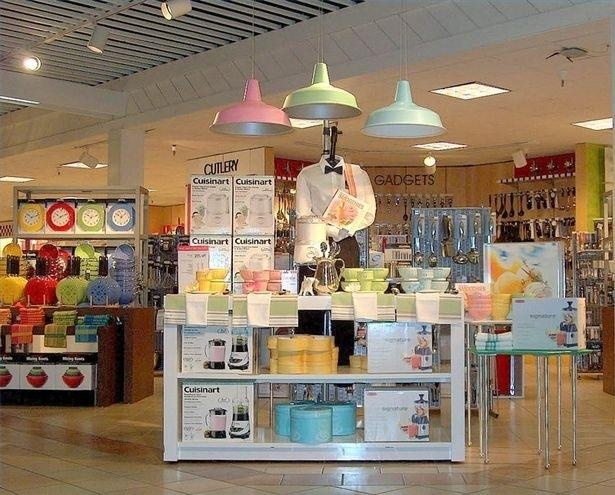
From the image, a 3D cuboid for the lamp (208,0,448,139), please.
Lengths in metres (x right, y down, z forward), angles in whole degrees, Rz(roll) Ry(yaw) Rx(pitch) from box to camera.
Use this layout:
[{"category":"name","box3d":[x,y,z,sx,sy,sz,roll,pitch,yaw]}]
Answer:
[{"category":"lamp","box3d":[0.220,-2.137,6.882,2.111,1.945,0.694,0,-8,-3]}]

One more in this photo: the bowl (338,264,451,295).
[{"category":"bowl","box3d":[0.718,0.263,4.980,0.867,0.211,0.543,-1,-4,12]}]

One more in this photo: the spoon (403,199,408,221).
[{"category":"spoon","box3d":[2.250,-0.838,13.925,0.112,0.396,0.061,0,-3,16]}]

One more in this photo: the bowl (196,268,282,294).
[{"category":"bowl","box3d":[-0.649,0.282,5.159,0.711,0.201,0.856,2,-4,-26]}]

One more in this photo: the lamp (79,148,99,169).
[{"category":"lamp","box3d":[-4.151,-1.664,11.611,0.390,0.350,0.517,-6,16,-24]}]

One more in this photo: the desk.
[{"category":"desk","box3d":[2.100,1.547,5.805,1.235,1.160,1.215,0,-2,-5]}]

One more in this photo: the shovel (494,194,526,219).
[{"category":"shovel","box3d":[4.358,-0.925,13.210,0.765,0.563,0.095,-4,-6,44]}]

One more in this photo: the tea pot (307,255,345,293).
[{"category":"tea pot","box3d":[0.176,0.203,5.021,0.293,0.291,0.202,-4,5,-27]}]
